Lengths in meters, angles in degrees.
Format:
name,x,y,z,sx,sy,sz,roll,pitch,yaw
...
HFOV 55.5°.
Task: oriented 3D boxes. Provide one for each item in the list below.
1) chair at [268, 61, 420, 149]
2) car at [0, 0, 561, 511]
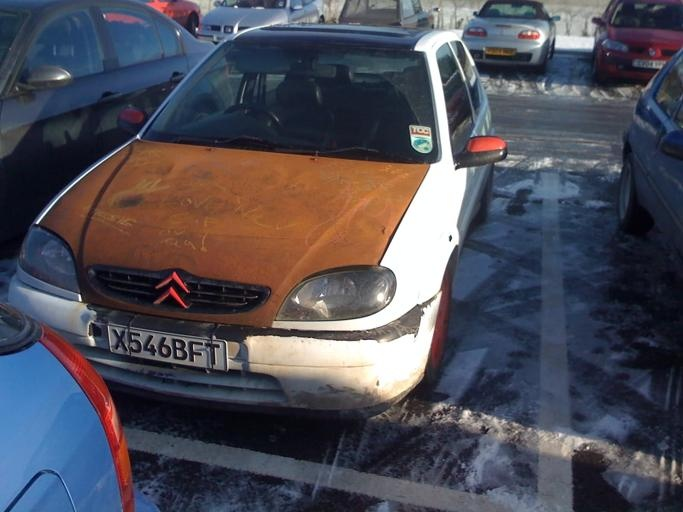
name,x,y,z,sx,sy,sz,roll,pitch,yaw
chair,0.036,-0.894,4.014,0.499,0.235,0.837,17,42,19
car,-0.051,-0.400,4.393,2.035,1.355,3.520,11,31,16
